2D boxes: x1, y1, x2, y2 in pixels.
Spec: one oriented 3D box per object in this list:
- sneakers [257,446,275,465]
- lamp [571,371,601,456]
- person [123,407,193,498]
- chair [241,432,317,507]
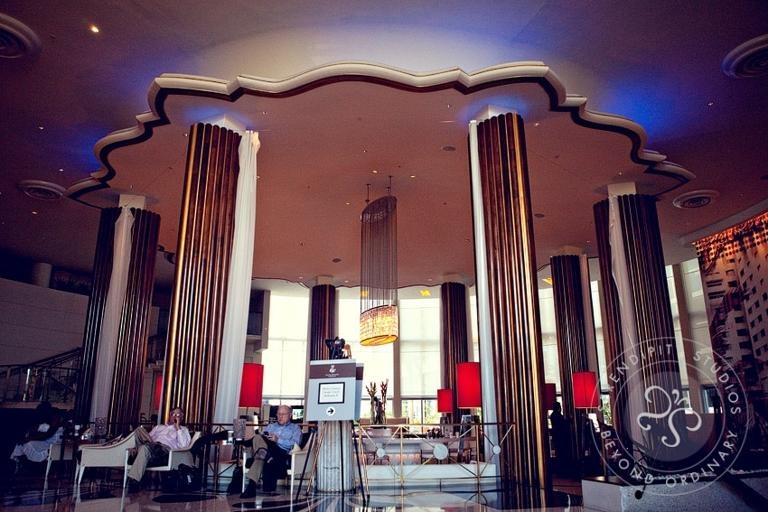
[{"bbox_3d":[-1.813,3.030,7.654,0.214,0.115,0.277,4,-4,-33],"label":"sneakers"},{"bbox_3d":[5.091,3.928,12.745,0.546,1.935,0.549,-11,-16,44],"label":"lamp"},{"bbox_3d":[-3.477,3.076,7.903,0.633,1.271,0.723,-13,-31,29],"label":"person"},{"bbox_3d":[-1.672,3.192,7.721,1.093,0.934,0.773,1,-7,1],"label":"chair"}]
